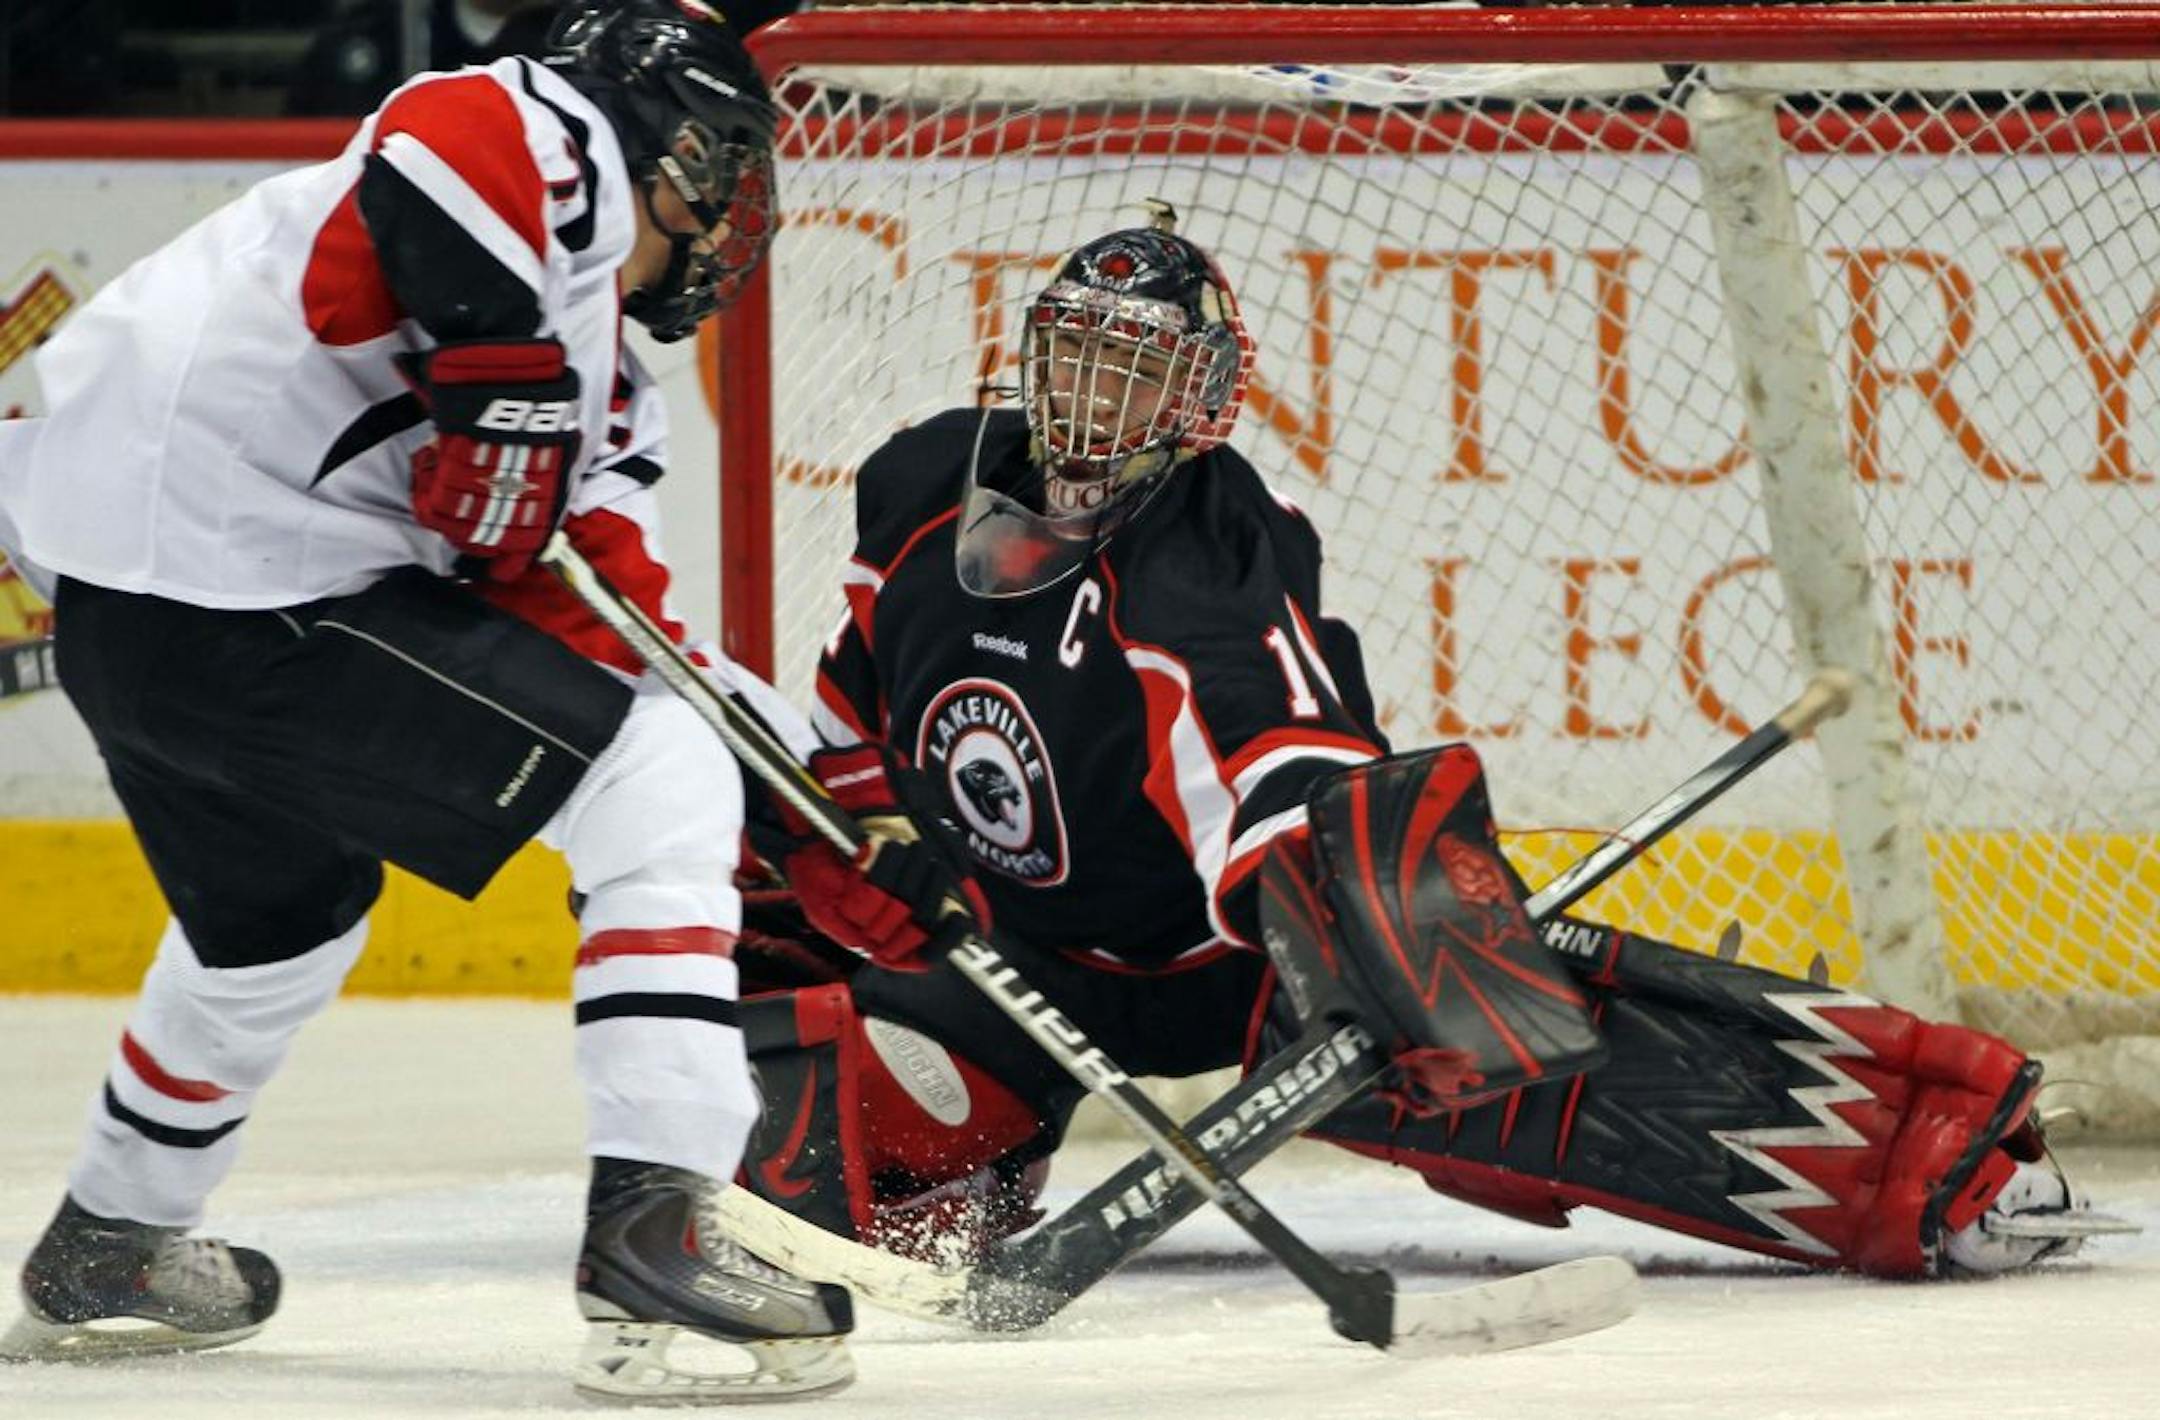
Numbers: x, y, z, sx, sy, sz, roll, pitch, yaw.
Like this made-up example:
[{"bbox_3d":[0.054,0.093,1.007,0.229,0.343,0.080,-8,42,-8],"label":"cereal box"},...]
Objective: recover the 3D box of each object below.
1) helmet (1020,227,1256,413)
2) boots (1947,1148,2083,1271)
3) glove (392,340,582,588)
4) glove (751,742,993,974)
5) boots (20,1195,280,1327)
[{"bbox_3d":[0.071,-0.617,4.745,0.372,0.329,0.415,11,20,3],"label":"helmet"},{"bbox_3d":[1.444,0.777,4.584,0.233,0.107,0.168,-11,-11,2],"label":"boots"},{"bbox_3d":[-0.818,-0.356,4.064,0.199,0.316,0.232,16,10,33],"label":"glove"},{"bbox_3d":[-0.334,0.235,4.348,0.303,0.348,0.155,-23,-14,-39],"label":"glove"},{"bbox_3d":[-1.351,0.784,4.334,0.394,0.219,0.157,3,17,-23],"label":"boots"}]
